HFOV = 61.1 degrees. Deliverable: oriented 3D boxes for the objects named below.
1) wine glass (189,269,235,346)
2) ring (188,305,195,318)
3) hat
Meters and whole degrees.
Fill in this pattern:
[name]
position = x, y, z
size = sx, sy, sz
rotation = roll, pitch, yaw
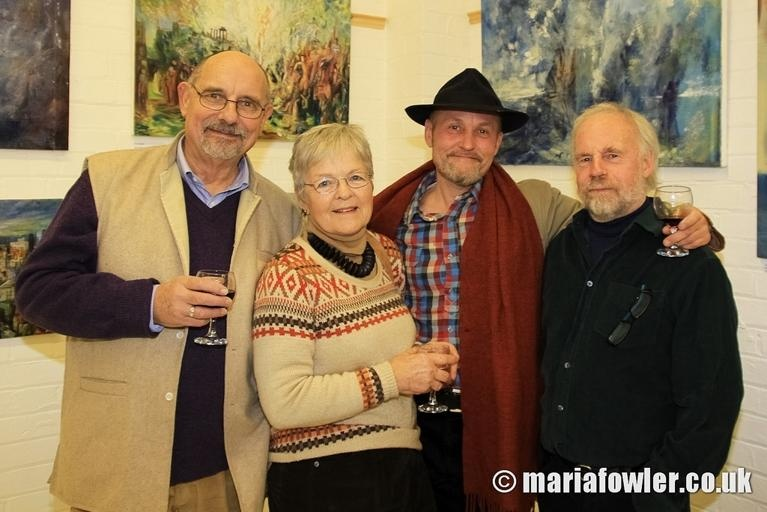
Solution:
[wine glass]
position = -0.738, 0.226, 2.792
size = 0.145, 0.343, 0.205
rotation = -7, 10, -40
[ring]
position = -0.791, 0.226, 2.675
size = 0.025, 0.038, 0.037
rotation = -1, -9, -12
[hat]
position = 0.532, -0.964, 3.908
size = 0.688, 0.275, 0.735
rotation = 4, -10, 4
